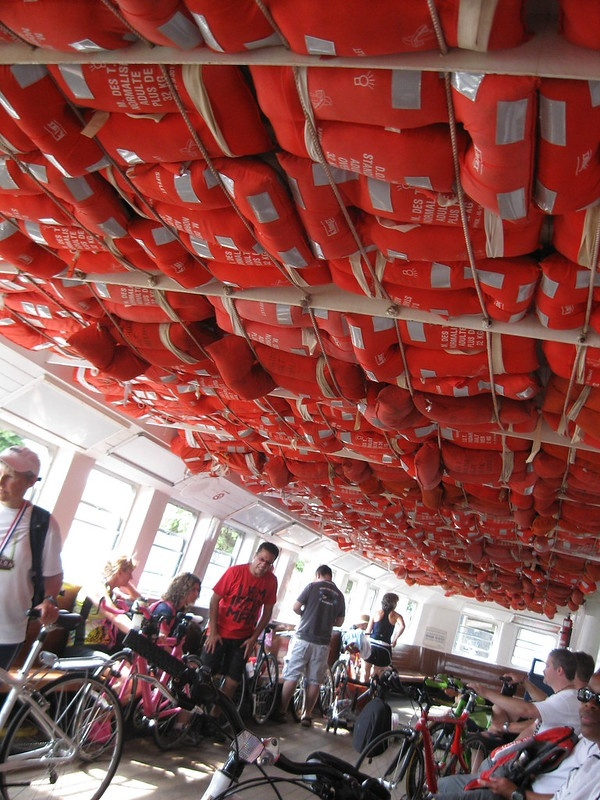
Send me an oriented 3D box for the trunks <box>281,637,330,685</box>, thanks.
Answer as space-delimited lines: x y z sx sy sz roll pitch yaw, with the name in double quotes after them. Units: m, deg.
0.074 2.931 5.934 0.483 0.499 0.352 20 -19 -9 "trunks"
